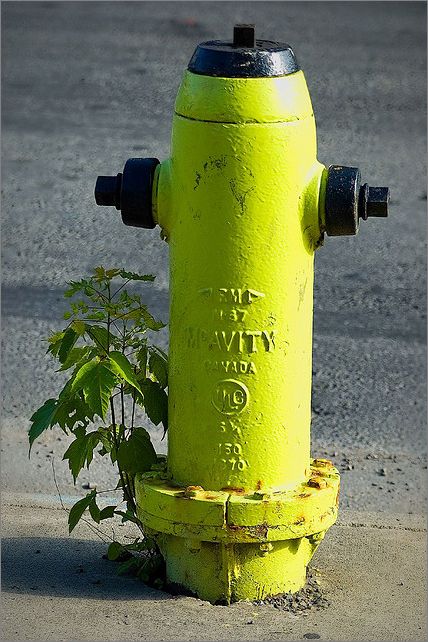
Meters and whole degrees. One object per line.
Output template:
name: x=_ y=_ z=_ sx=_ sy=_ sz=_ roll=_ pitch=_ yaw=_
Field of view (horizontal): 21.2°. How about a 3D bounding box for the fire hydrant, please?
fire hydrant: x=0.098 y=-0.001 z=3.332 sx=0.778 sy=1.678 sz=0.445 roll=1 pitch=11 yaw=-5
